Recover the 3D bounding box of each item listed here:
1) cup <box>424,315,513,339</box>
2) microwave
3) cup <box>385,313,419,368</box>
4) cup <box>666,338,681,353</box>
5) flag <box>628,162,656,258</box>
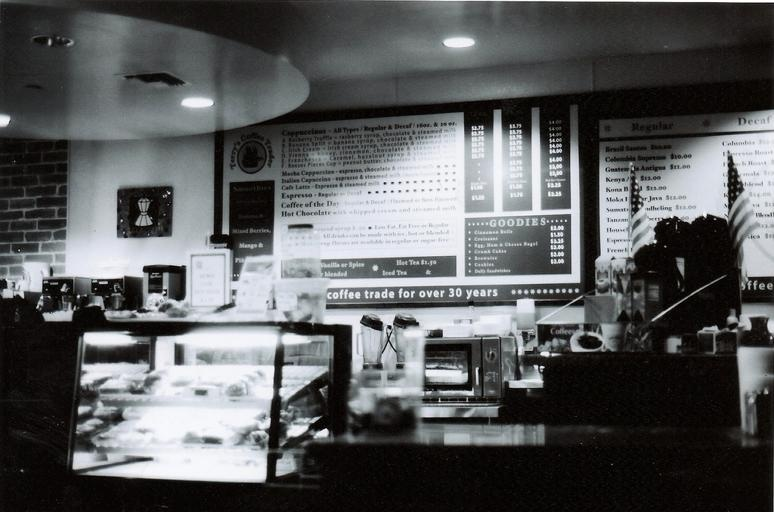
[{"bbox_3d":[0.321,0.273,3.021,0.338,0.093,0.066,0,-2,11],"label":"cup"},{"bbox_3d":[0.315,0.441,3.059,0.383,0.243,0.268,-1,-7,14],"label":"microwave"},{"bbox_3d":[0.068,0.288,2.680,0.086,0.179,0.112,-1,-2,40],"label":"cup"},{"bbox_3d":[0.991,0.306,2.670,0.054,0.053,0.050,0,-1,0],"label":"cup"},{"bbox_3d":[0.923,-0.169,2.827,0.086,0.360,0.172,0,-2,12],"label":"flag"}]
